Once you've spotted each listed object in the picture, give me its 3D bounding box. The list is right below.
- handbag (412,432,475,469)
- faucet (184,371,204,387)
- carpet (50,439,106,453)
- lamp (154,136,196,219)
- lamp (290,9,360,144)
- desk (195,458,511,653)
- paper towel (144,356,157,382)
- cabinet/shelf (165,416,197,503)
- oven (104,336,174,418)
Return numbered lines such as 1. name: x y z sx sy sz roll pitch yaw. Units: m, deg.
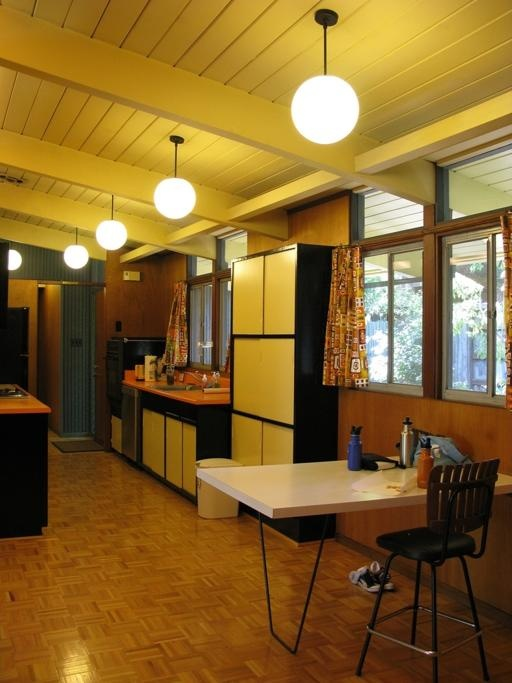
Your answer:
1. handbag: 0.907 0.548 2.700 0.259 0.079 0.251 2 -1 -41
2. faucet: -0.721 0.433 6.216 0.167 0.110 0.307 1 -6 -1
3. carpet: -2.522 1.456 7.636 0.577 0.045 1.219 1 0 -28
4. lamp: -0.490 -0.993 3.343 0.243 0.531 0.244 -1 -5 14
5. lamp: 0.267 -0.941 1.982 0.224 0.476 0.415 1 0 15
6. desk: 0.490 1.047 2.584 0.950 0.465 0.509 1 -4 -29
7. paper towel: -1.287 0.338 6.640 0.154 0.303 0.196 1 0 -12
8. cabinet/shelf: -0.660 1.053 4.844 0.248 0.738 0.775 1 -4 -22
9. oven: -1.632 0.479 7.119 0.624 0.975 0.604 -15 -27 38
